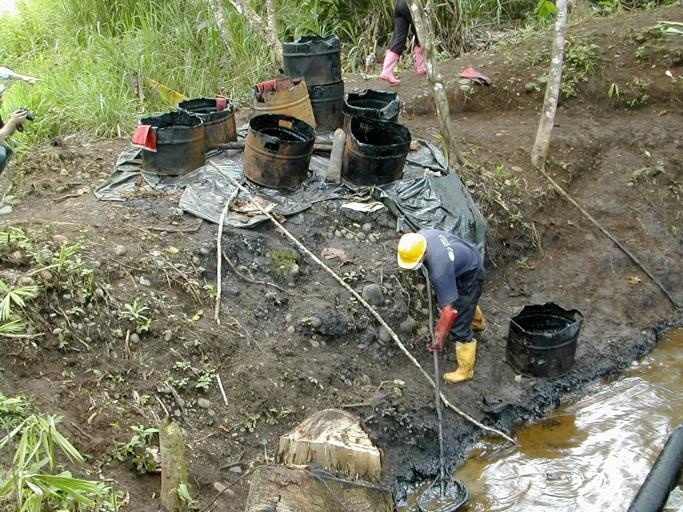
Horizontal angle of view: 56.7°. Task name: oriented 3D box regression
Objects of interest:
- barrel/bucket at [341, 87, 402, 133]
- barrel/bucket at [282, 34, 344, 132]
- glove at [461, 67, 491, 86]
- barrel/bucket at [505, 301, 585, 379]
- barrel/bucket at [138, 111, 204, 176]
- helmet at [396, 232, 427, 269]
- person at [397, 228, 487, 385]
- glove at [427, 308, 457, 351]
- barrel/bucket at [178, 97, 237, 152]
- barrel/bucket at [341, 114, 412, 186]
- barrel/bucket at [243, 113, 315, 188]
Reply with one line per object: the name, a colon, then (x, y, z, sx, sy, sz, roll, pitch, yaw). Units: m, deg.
barrel/bucket: (0.356, -1.763, 7.504, 0.608, 0.635, 0.651, 2, 37, -1)
barrel/bucket: (-0.343, -2.160, 7.919, 0.754, 1.172, 0.783, 0, 28, 0)
glove: (1.964, -2.616, 9.225, 0.381, 0.110, 0.251, 32, 49, 29)
barrel/bucket: (2.060, 0.811, 6.450, 0.714, 0.748, 0.616, -35, 35, -32)
barrel/bucket: (-1.846, -1.272, 7.025, 0.649, 0.552, 0.724, 13, 26, 22)
helmet: (0.641, -0.041, 5.795, 0.222, 0.334, 0.111, 10, -11, 26)
person: (0.940, 0.339, 6.391, 0.928, 1.773, 0.943, 3, 41, 19)
glove: (0.917, 0.651, 5.792, 0.265, 0.386, 0.122, -12, 29, -15)
barrel/bucket: (-1.516, -1.604, 7.429, 0.635, 0.494, 0.673, 0, 33, 0)
barrel/bucket: (0.386, -1.173, 7.127, 0.736, 0.595, 0.802, 4, 35, -3)
barrel/bucket: (-0.655, -1.149, 6.922, 0.742, 0.694, 0.668, 8, 31, 21)
